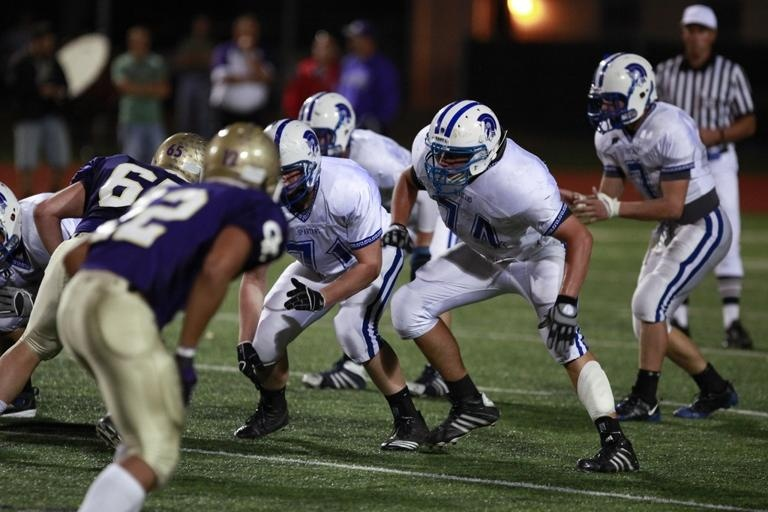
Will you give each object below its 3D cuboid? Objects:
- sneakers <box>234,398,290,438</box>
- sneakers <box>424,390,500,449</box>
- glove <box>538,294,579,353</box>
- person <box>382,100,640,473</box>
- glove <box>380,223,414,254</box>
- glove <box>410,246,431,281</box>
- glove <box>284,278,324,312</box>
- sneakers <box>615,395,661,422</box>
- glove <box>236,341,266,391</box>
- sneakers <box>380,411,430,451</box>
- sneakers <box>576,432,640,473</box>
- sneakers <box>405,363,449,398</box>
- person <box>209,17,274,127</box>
[{"bbox_3d":[-0.642,0.849,5.199,0.342,0.219,0.124,1,11,-27],"label":"sneakers"},{"bbox_3d":[0.414,0.866,5.163,0.294,0.161,0.106,-30,32,1],"label":"sneakers"},{"bbox_3d":[0.832,0.332,4.739,0.164,0.327,0.161,2,10,4],"label":"glove"},{"bbox_3d":[0.613,0.105,4.997,1.318,1.743,0.628,4,11,15],"label":"person"},{"bbox_3d":[0.065,-0.093,5.212,0.180,0.117,0.237,3,2,4],"label":"glove"},{"bbox_3d":[0.242,0.078,6.226,0.084,0.253,0.179,7,33,1],"label":"glove"},{"bbox_3d":[-0.370,0.196,4.740,0.181,0.135,0.071,-11,0,1],"label":"glove"},{"bbox_3d":[1.414,0.856,5.554,0.308,0.131,0.123,5,-1,-6],"label":"sneakers"},{"bbox_3d":[-0.651,0.542,4.881,0.106,0.214,0.137,6,-32,-28],"label":"glove"},{"bbox_3d":[0.113,0.902,5.004,0.338,0.154,0.115,7,-7,-39],"label":"sneakers"},{"bbox_3d":[1.105,0.969,4.869,0.378,0.242,0.136,3,-9,-1],"label":"sneakers"},{"bbox_3d":[0.264,0.752,5.976,0.116,0.155,0.343,-1,2,-3],"label":"sneakers"},{"bbox_3d":[-1.796,-2.329,12.520,0.818,1.320,1.830,0,11,-9],"label":"person"}]
